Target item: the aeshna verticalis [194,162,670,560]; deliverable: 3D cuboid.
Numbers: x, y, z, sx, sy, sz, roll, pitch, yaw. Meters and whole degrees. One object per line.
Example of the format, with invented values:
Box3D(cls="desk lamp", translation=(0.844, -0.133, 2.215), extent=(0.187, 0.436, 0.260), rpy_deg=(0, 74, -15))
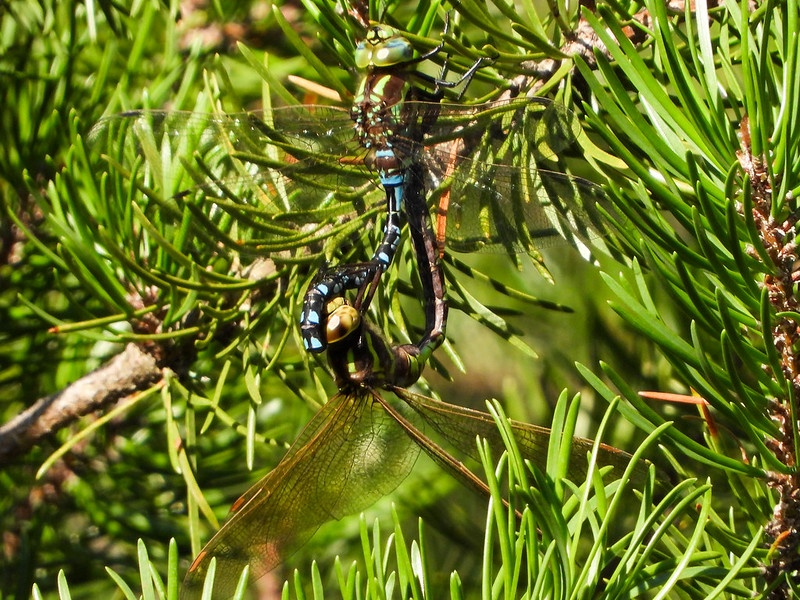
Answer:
Box3D(cls="aeshna verticalis", translation=(-0.058, 0.163, 1.936), extent=(0.798, 0.362, 0.737), rpy_deg=(-20, 72, -8))
